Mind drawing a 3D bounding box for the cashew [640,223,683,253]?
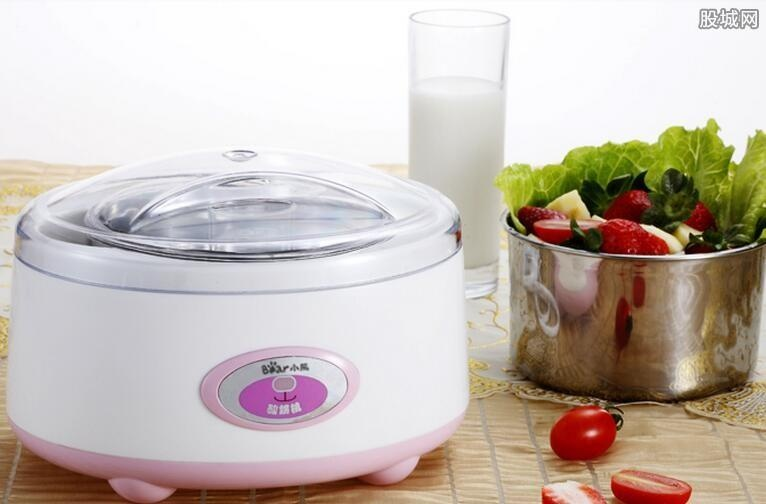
[{"bbox_3d":[0.344,-0.015,0.922,0.051,0.015,0.034,30,14,-3],"label":"cashew"}]

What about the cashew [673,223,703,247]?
[{"bbox_3d":[0.375,-0.023,0.920,0.037,0.025,0.032,-3,10,-9],"label":"cashew"}]

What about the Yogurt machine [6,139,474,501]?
[{"bbox_3d":[-0.213,0.059,0.868,0.448,0.277,0.408,-2,8,-24],"label":"Yogurt machine"}]

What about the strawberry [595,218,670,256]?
[{"bbox_3d":[0.294,-0.015,0.867,0.081,0.040,0.051,3,19,15],"label":"strawberry"}]
